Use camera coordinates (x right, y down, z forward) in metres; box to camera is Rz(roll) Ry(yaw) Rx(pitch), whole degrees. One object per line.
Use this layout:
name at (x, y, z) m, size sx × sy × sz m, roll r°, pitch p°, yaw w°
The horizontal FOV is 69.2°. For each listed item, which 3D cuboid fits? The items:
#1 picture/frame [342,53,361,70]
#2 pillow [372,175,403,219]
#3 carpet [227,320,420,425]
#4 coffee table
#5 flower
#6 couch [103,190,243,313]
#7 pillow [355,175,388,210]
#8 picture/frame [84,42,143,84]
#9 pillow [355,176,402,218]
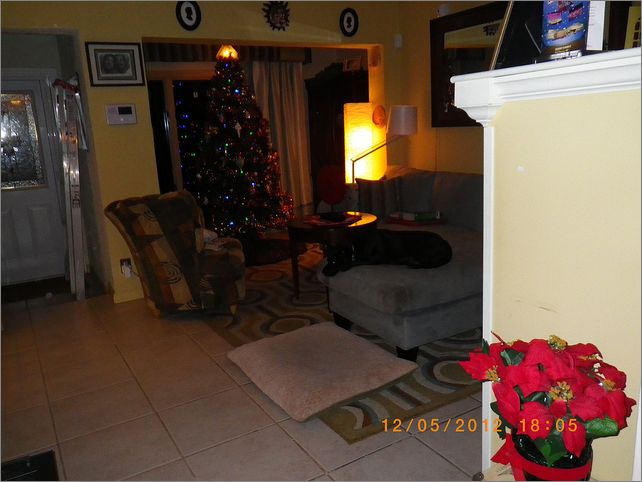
picture/frame at (0.395, -2.222, 5.886) m, size 0.242 × 0.196 × 0.525 m, roll -5°, pitch 15°, yaw 5°
pillow at (0.672, -0.446, 4.743) m, size 0.380 × 0.355 × 0.111 m, roll 1°, pitch -6°, yaw -26°
carpet at (-0.006, 0.732, 2.868) m, size 0.811 × 0.111 × 0.867 m, roll -15°, pitch 18°, yaw -32°
coffee table at (0.068, 0.026, 4.137) m, size 0.697 × 0.563 × 0.768 m, roll -1°, pitch 16°, yaw 3°
flower at (0.572, 0.390, 1.191) m, size 0.384 × 0.310 × 0.249 m, roll 5°, pitch 19°, yaw 34°
couch at (-1.189, -0.009, 3.989) m, size 1.045 × 0.971 × 0.942 m, roll -10°, pitch 23°, yaw -26°
pillow at (0.510, -0.482, 4.759) m, size 0.375 × 0.428 × 0.165 m, roll -2°, pitch 5°, yaw 5°
picture/frame at (-1.817, -1.535, 4.009) m, size 0.392 × 0.325 × 0.026 m, roll -10°, pitch 24°, yaw -25°
pillow at (0.588, -0.431, 4.693) m, size 0.494 × 0.495 × 0.179 m, roll 0°, pitch -1°, yaw -1°
